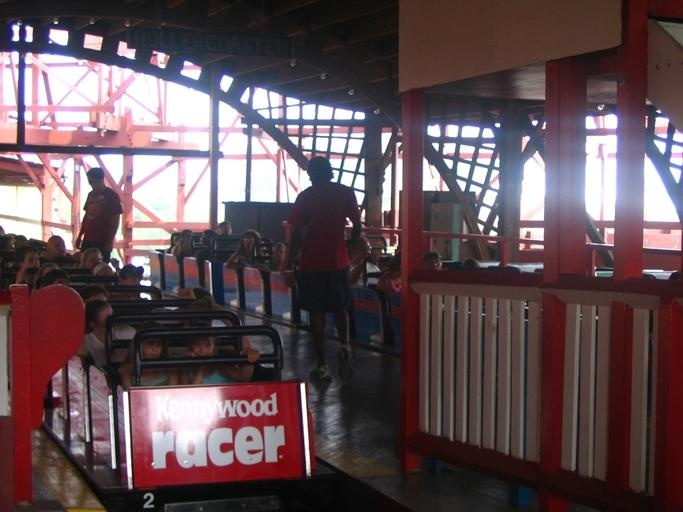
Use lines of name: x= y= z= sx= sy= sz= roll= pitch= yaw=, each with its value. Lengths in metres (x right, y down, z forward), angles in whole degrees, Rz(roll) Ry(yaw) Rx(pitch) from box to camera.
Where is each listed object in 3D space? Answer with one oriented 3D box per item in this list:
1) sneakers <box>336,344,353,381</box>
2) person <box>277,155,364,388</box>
sneakers: x=0.024 y=0.898 z=7.299 sx=0.103 sy=0.325 sz=0.127 roll=-10 pitch=6 yaw=-15
person: x=-0.151 y=0.099 z=7.257 sx=0.622 sy=1.887 sz=0.397 roll=0 pitch=4 yaw=-4
